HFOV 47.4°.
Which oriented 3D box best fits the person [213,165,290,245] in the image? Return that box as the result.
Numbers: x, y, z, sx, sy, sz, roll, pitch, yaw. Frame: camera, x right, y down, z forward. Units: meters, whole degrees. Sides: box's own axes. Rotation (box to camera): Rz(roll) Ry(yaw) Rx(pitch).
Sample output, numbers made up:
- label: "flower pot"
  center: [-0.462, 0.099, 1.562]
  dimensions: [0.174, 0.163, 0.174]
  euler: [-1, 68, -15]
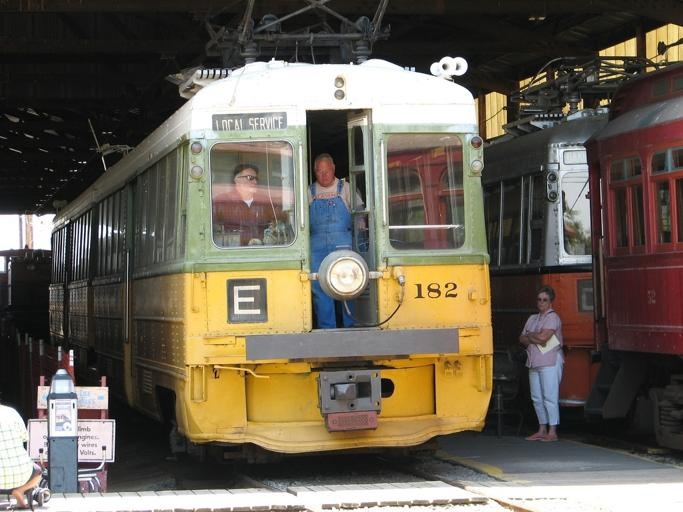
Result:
- label: "person"
  center: [-0.998, -0.542, 8.327]
  dimensions: [0.489, 0.861, 0.708]
  euler: [-3, -3, 27]

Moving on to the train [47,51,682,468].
- label: "train"
  center: [-1.305, 0.032, 10.060]
  dimensions: [2.936, 4.190, 6.455]
  euler: [-2, 1, -37]
